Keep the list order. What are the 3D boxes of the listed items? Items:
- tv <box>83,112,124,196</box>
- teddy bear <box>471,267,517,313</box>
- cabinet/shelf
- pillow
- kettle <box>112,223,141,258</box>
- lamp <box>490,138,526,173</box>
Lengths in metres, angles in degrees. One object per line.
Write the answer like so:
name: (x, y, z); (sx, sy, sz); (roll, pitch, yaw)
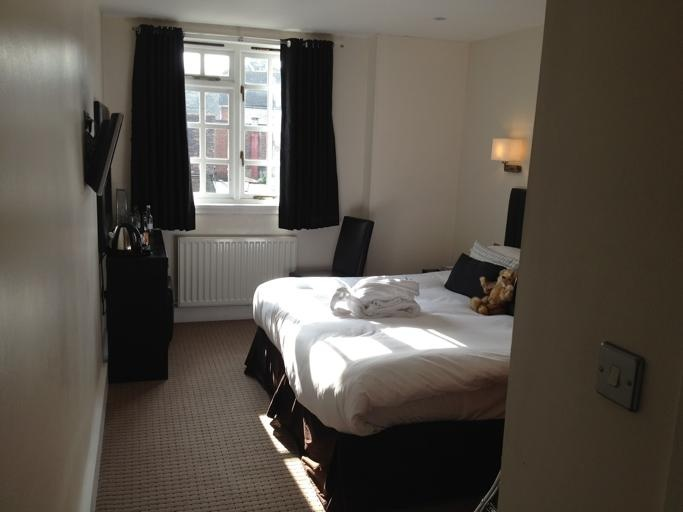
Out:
tv: (-1.309, -0.548, 2.877); (0.199, 0.451, 0.337); (-4, 13, -26)
teddy bear: (1.069, 0.245, 3.648); (0.158, 0.265, 0.212); (17, 3, -19)
cabinet/shelf: (-1.732, 0.327, 4.550); (0.455, 0.987, 1.433); (1, 11, -22)
pillow: (1.091, 0.115, 4.041); (0.164, 0.544, 0.538); (28, -17, -34)
kettle: (-1.583, -0.115, 3.887); (0.234, 0.271, 0.180); (9, 2, 14)
lamp: (1.547, -0.928, 4.824); (0.287, 0.348, 0.303); (9, 21, 32)
